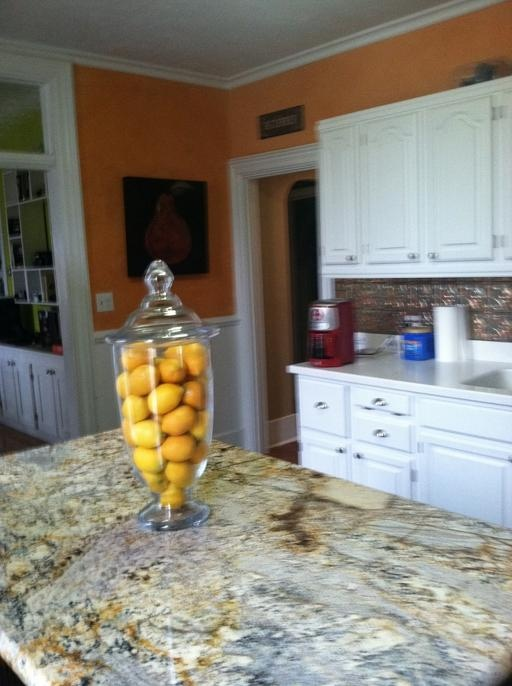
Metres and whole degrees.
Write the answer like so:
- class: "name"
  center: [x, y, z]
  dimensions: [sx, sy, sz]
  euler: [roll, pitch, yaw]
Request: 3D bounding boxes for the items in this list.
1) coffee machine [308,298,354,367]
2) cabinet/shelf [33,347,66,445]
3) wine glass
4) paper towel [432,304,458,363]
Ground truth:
- class: "coffee machine"
  center: [0.378, -0.047, 2.829]
  dimensions: [0.186, 0.363, 0.183]
  euler: [7, 12, 40]
- class: "cabinet/shelf"
  center: [-1.755, 0.441, 4.660]
  dimensions: [0.179, 0.773, 0.473]
  euler: [-10, 12, -43]
- class: "wine glass"
  center: [-0.147, 0.121, 0.955]
  dimensions: [0.148, 0.368, 0.157]
  euler: [-11, 17, -42]
- class: "paper towel"
  center: [0.964, -0.044, 2.764]
  dimensions: [0.122, 0.282, 0.093]
  euler: [-3, 5, 9]
